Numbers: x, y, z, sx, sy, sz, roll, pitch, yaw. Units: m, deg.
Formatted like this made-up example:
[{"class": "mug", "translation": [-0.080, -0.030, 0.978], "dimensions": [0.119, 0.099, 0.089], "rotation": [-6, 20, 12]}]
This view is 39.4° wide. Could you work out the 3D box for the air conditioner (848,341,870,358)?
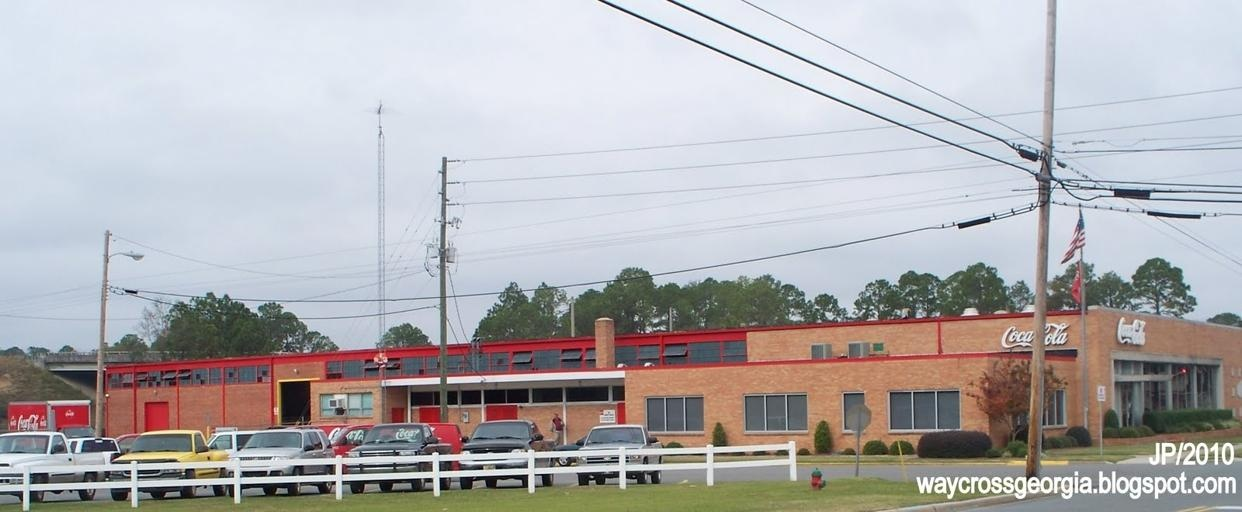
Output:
[{"class": "air conditioner", "translation": [28.534, 11.078, 207.507], "dimensions": [2.774, 2.092, 1.773], "rotation": [1, -2, 20]}]
